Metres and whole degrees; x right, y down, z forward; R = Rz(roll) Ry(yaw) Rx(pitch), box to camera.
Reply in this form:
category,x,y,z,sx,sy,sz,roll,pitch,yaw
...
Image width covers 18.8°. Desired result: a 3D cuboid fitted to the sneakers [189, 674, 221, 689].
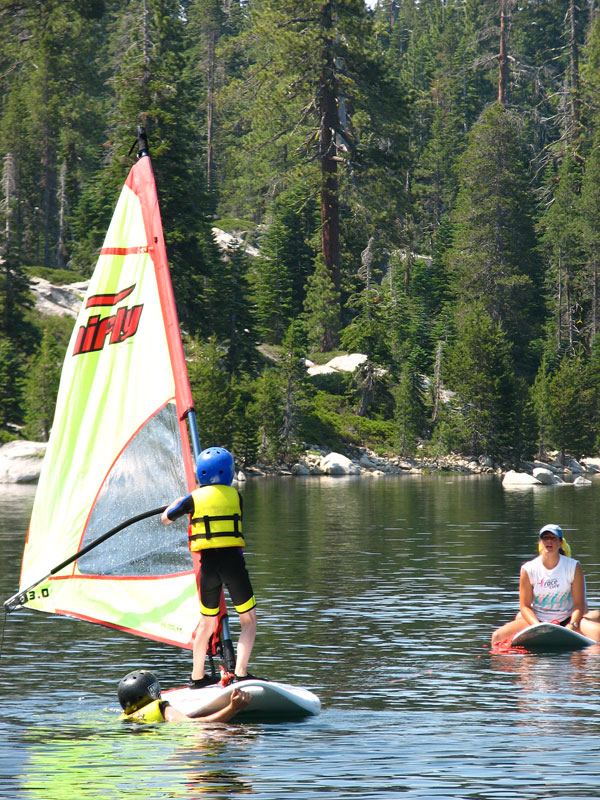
category,x,y,z,sx,sy,sz,roll,pitch,yaw
sneakers,-0.763,2.263,14.467,0.274,0.106,0.095,-8,17,-12

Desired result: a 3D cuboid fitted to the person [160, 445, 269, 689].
category,x,y,z,sx,sy,sz,roll,pitch,yaw
person,-0.681,1.282,13.974,0.653,1.805,0.764,-1,-3,-3

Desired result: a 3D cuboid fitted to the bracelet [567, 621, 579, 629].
category,x,y,z,sx,sy,sz,roll,pitch,yaw
bracelet,2.717,2.276,18.065,0.082,0.022,0.087,22,3,43

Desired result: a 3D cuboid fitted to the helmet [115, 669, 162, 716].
category,x,y,z,sx,sy,sz,roll,pitch,yaw
helmet,-1.303,2.323,14.576,0.282,0.336,0.358,2,30,38

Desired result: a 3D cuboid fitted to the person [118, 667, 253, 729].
category,x,y,z,sx,sy,sz,roll,pitch,yaw
person,-0.980,2.394,14.254,1.153,0.402,0.421,5,-14,19

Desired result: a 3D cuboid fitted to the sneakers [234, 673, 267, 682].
category,x,y,z,sx,sy,sz,roll,pitch,yaw
sneakers,-0.391,2.174,14.062,0.222,0.085,0.074,-1,-8,-8

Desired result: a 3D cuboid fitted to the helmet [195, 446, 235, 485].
category,x,y,z,sx,sy,sz,roll,pitch,yaw
helmet,-0.622,0.518,13.900,0.244,0.295,0.313,2,3,5
